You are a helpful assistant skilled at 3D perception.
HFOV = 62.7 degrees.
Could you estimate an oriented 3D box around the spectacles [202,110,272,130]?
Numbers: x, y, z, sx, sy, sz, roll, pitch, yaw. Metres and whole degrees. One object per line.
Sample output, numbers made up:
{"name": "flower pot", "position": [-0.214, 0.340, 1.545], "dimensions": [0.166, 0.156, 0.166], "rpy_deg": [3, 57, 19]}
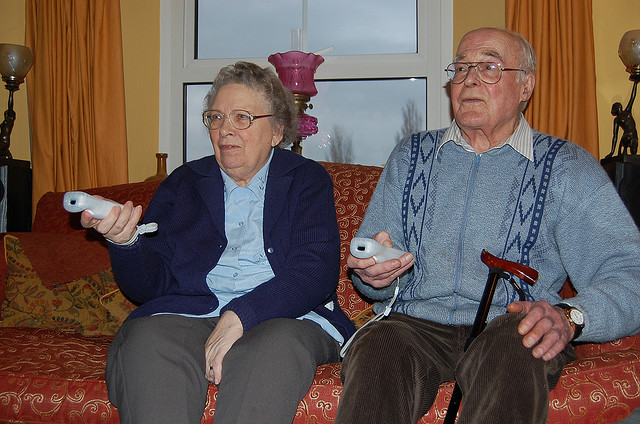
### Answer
{"name": "spectacles", "position": [-0.316, -0.357, 2.036], "dimensions": [0.242, 0.078, 0.069], "rpy_deg": [2, 9, 0]}

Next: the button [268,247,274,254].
{"name": "button", "position": [-0.185, 0.143, 1.949], "dimensions": [0.019, 0.021, 0.005], "rpy_deg": [0, -9, -11]}

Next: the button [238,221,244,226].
{"name": "button", "position": [-0.301, 0.045, 2.000], "dimensions": [0.014, 0.016, 0.004], "rpy_deg": [1, -7, 0]}

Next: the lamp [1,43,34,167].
{"name": "lamp", "position": [-2.025, -0.711, 3.546], "dimensions": [0.213, 0.802, 0.244], "rpy_deg": [-1, 9, -17]}

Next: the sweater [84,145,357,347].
{"name": "sweater", "position": [-0.340, 0.124, 1.999], "dimensions": [0.908, 0.720, 0.949], "rpy_deg": [0, 4, 3]}

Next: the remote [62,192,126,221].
{"name": "remote", "position": [-0.712, -0.017, 1.730], "dimensions": [0.059, 0.079, 0.270], "rpy_deg": [-7, -12, 17]}

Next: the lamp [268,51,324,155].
{"name": "lamp", "position": [-0.134, -0.606, 2.886], "dimensions": [0.288, 0.560, 0.407], "rpy_deg": [0, 9, -7]}

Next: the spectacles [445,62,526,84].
{"name": "spectacles", "position": [0.636, -0.530, 2.012], "dimensions": [0.298, 0.083, 0.092], "rpy_deg": [3, 9, 6]}

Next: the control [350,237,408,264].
{"name": "control", "position": [0.191, 0.126, 1.758], "dimensions": [0.202, 0.093, 0.070], "rpy_deg": [-2, 10, -23]}
